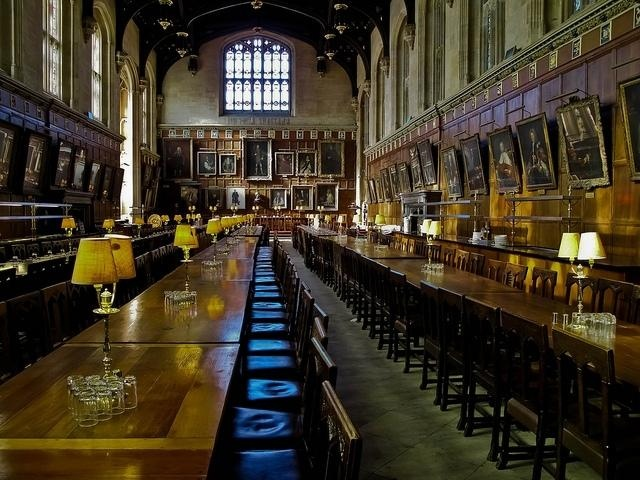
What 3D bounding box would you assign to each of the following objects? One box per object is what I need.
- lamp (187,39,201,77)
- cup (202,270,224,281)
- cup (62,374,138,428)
[{"bbox_3d":[-6.355,-9.275,24.573,0.442,2.111,2.655,-1,2,-12],"label":"lamp"},{"bbox_3d":[-1.403,0.465,6.330,0.162,0.146,0.183,2,-1,0],"label":"cup"},{"bbox_3d":[-1.072,0.776,2.447,0.192,0.111,0.279,0,-2,-9],"label":"cup"}]
